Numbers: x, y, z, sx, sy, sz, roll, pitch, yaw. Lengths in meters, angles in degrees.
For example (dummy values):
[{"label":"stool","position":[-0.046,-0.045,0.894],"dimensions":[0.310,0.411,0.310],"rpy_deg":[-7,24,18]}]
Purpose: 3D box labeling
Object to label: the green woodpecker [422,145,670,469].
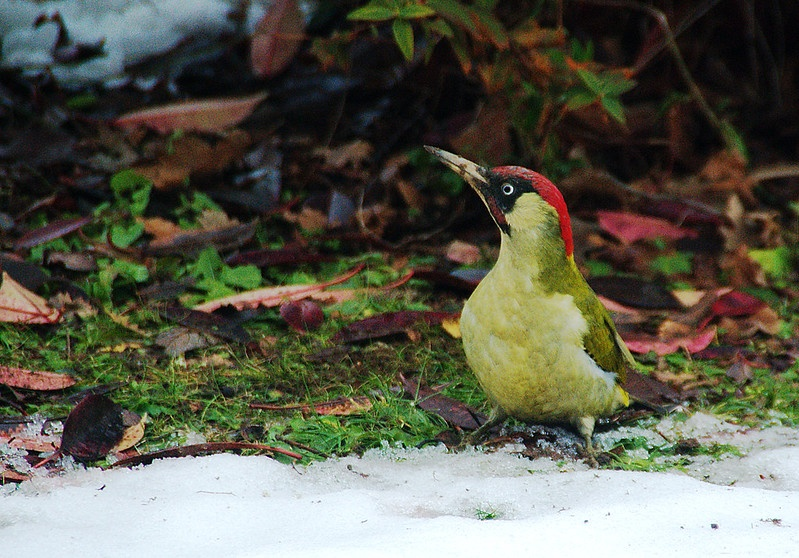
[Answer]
[{"label":"green woodpecker","position":[0.696,0.099,4.036],"dimensions":[1.300,1.257,0.738],"rpy_deg":[-4,2,-43]}]
